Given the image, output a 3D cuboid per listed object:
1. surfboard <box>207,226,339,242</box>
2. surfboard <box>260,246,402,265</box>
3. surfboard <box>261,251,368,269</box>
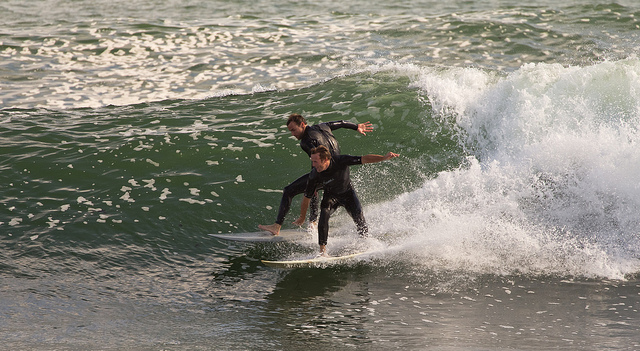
[{"bbox_3d":[-1.555,1.835,25.187,4.228,0.224,0.426,-2,33,-5],"label":"surfboard"},{"bbox_3d":[0.367,2.447,24.706,4.395,0.340,0.229,-3,54,-8],"label":"surfboard"},{"bbox_3d":[-0.153,2.579,24.542,4.223,0.363,0.223,-3,87,-12],"label":"surfboard"}]
